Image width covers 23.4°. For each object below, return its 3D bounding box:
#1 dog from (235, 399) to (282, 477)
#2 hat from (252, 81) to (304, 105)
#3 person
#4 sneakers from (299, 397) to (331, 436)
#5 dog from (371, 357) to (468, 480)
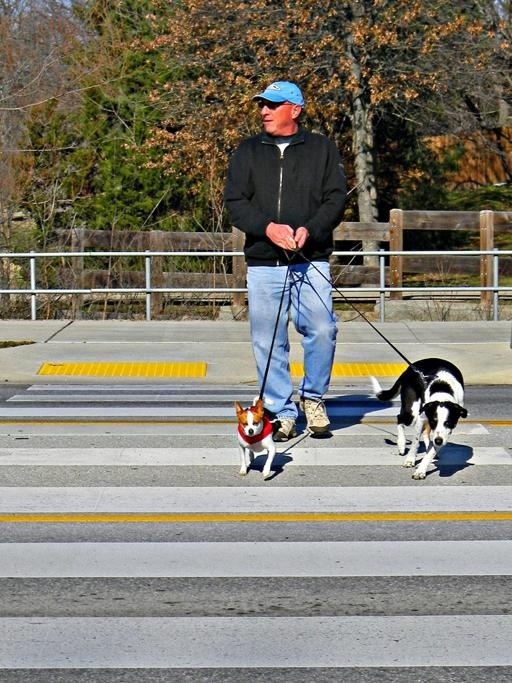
[{"bbox_3d":[0.007,0.446,6.060,0.190,0.379,0.611,-5,5,4],"label":"dog"},{"bbox_3d":[0.118,-1.356,6.763,0.262,0.154,0.290,0,4,1],"label":"hat"},{"bbox_3d":[0.162,-0.437,6.821,0.680,2.028,0.691,0,4,0],"label":"person"},{"bbox_3d":[0.356,0.424,7.072,0.101,0.126,0.292,-1,20,-16],"label":"sneakers"},{"bbox_3d":[0.850,0.385,6.195,0.367,0.538,0.969,3,12,-8],"label":"dog"}]
